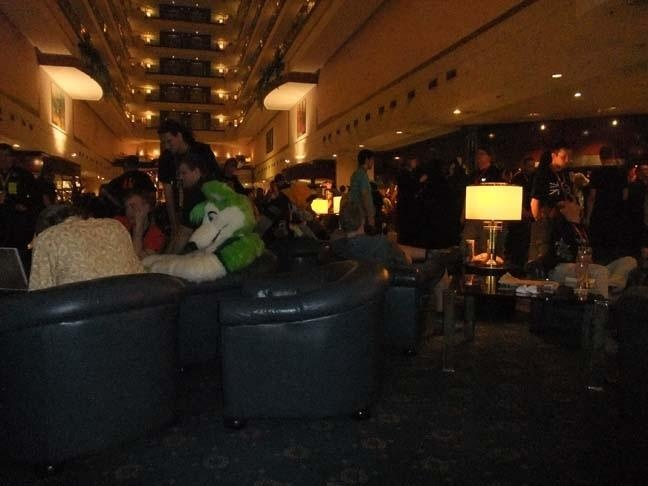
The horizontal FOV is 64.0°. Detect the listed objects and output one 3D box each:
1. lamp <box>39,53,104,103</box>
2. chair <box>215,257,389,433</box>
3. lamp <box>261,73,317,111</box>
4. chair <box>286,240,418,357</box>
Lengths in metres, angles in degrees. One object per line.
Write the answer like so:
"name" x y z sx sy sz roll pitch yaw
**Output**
"lamp" -6.374 -4.199 13.038 0.657 0.169 2.130 -13 -5 -8
"chair" -0.096 0.558 3.266 0.915 0.864 0.908 0 0 2
"lamp" -1.158 -4.744 16.192 1.193 0.747 3.416 -3 11 -14
"chair" 0.301 0.351 4.129 0.926 0.923 0.916 1 9 14
